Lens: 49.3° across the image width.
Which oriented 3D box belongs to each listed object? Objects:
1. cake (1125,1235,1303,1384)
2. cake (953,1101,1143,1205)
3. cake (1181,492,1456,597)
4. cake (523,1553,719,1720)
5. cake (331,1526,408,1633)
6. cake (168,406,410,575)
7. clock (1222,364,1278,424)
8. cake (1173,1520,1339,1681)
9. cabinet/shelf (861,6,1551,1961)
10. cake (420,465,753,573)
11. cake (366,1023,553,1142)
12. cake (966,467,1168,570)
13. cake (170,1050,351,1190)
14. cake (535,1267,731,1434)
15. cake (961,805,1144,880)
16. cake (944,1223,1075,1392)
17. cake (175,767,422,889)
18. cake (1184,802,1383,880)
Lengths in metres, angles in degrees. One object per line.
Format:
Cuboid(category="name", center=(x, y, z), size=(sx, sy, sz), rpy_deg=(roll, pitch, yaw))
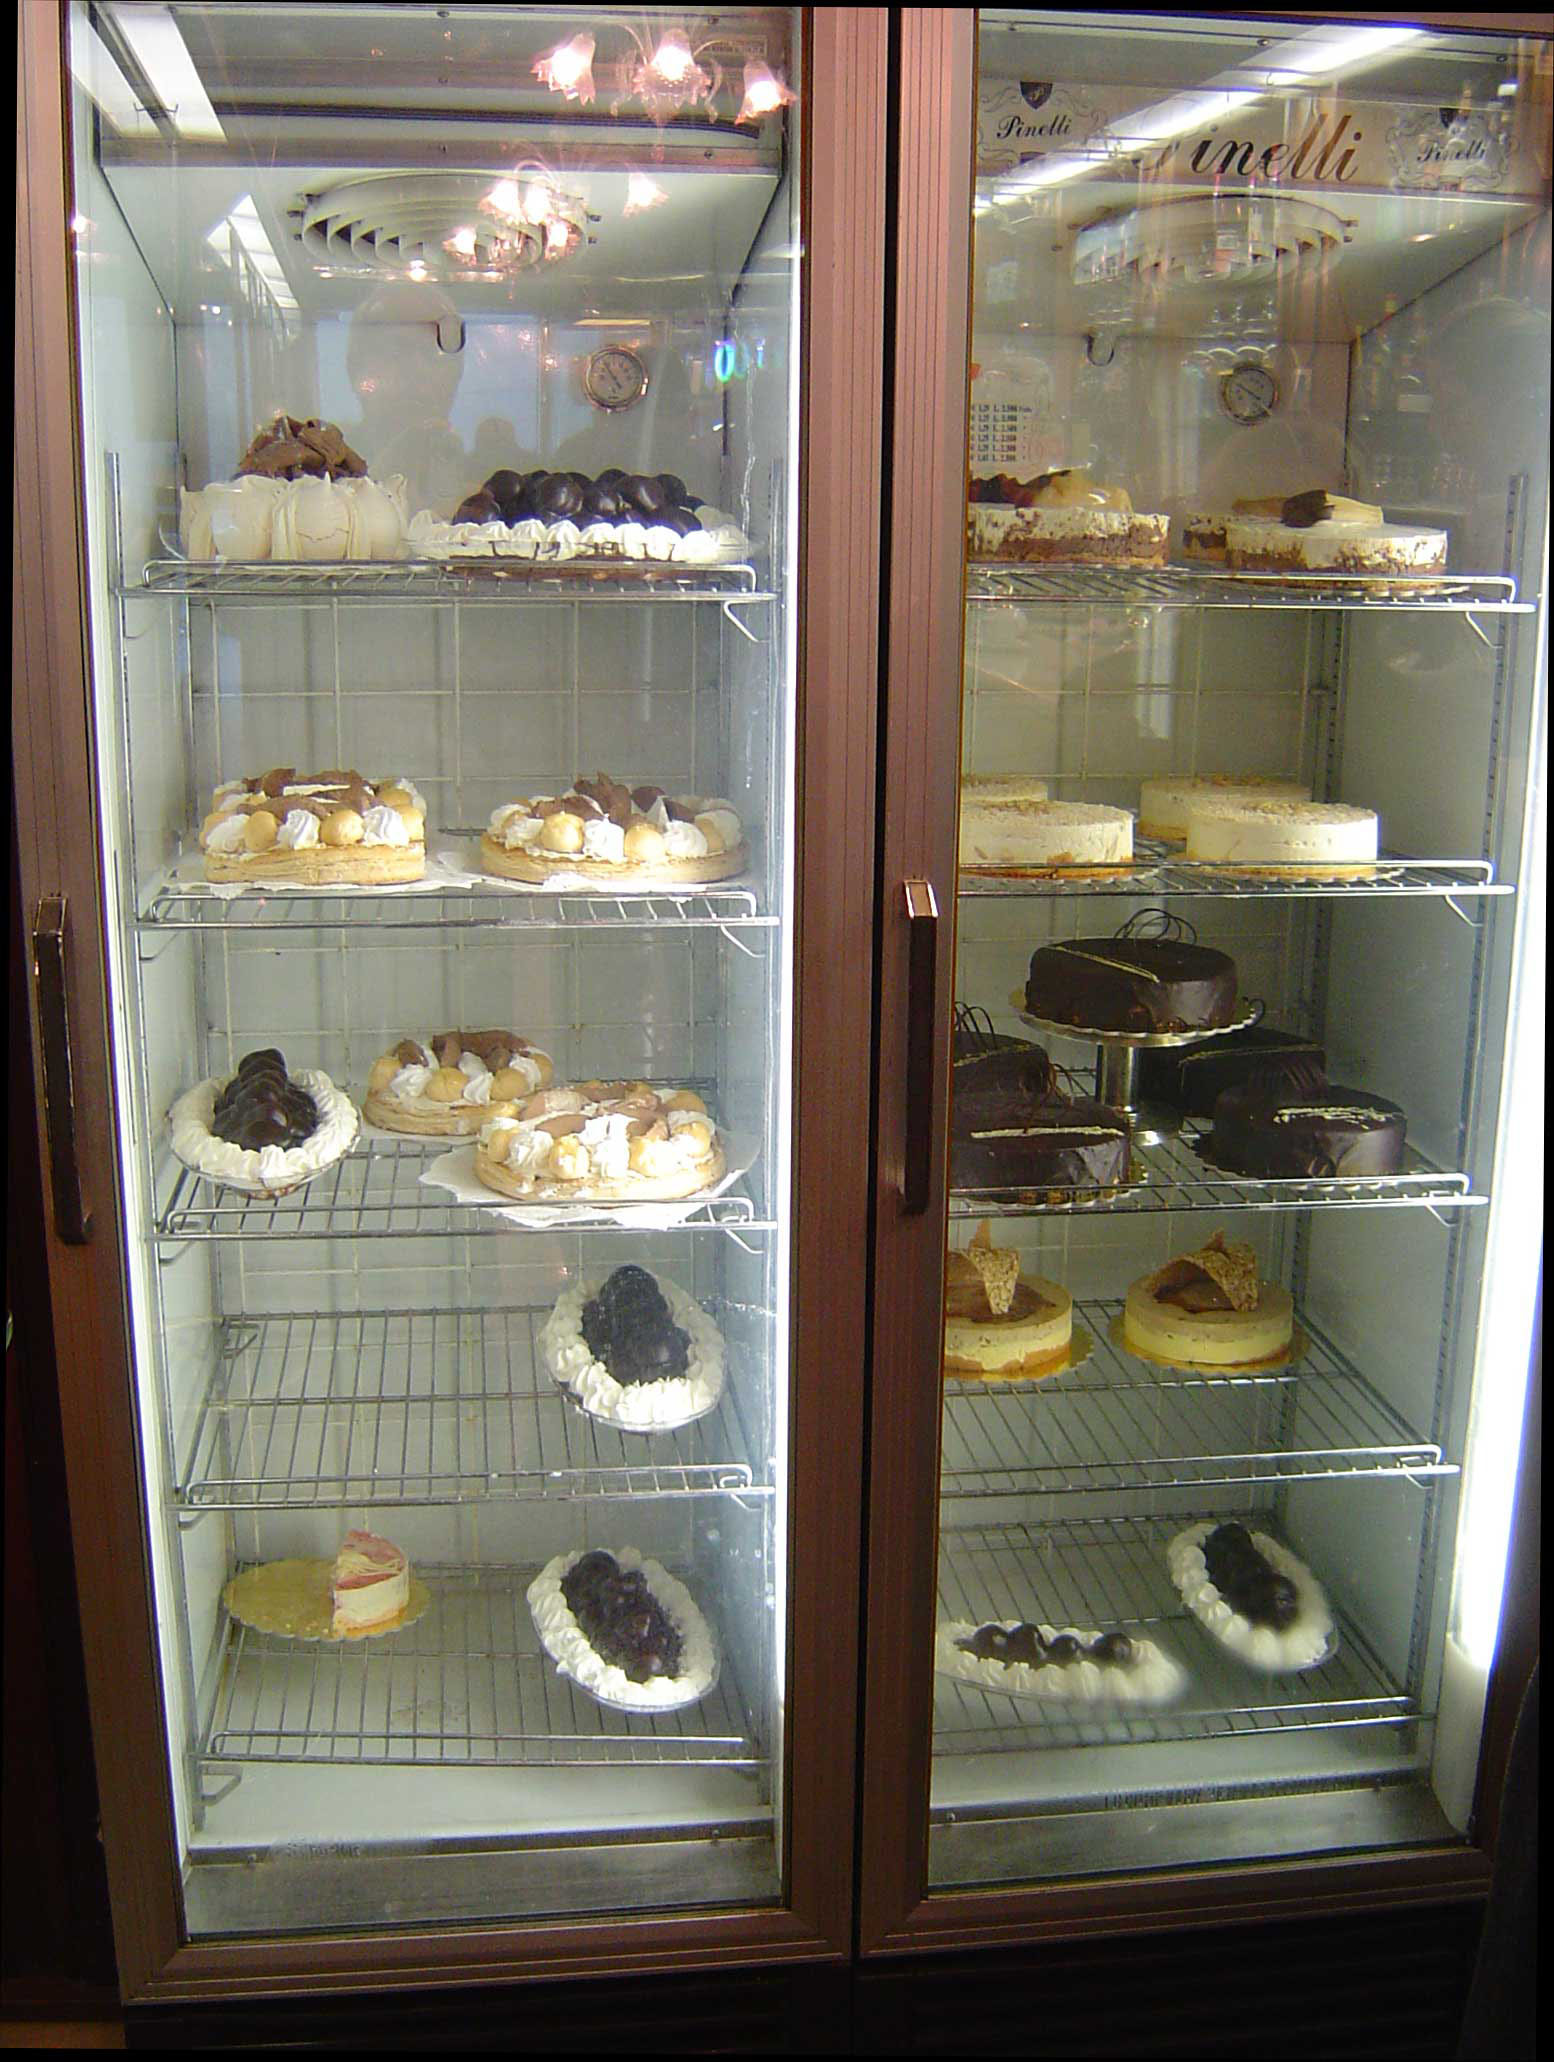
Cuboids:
Cuboid(category="cake", center=(0.500, 0.305, 1.970), size=(0.201, 0.118, 0.204), rpy_deg=(-13, 20, -42))
Cuboid(category="cake", center=(0.274, 0.125, 1.695), size=(0.218, 0.106, 0.060), rpy_deg=(-11, 14, -34))
Cuboid(category="cake", center=(0.537, -0.489, 1.704), size=(0.199, 0.062, 0.141), rpy_deg=(8, 24, 16))
Cuboid(category="cake", center=(-0.160, 0.676, 1.884), size=(0.169, 0.076, 0.231), rpy_deg=(-6, 12, -21))
Cuboid(category="cake", center=(-0.481, 0.661, 2.005), size=(0.086, 0.069, 0.138), rpy_deg=(10, 10, -14))
Cuboid(category="cake", center=(-0.467, -0.511, 1.637), size=(0.179, 0.111, 0.184), rpy_deg=(13, 21, 27))
Cuboid(category="clock", center=(0.482, -0.653, 1.738), size=(0.066, 0.060, 0.010), rpy_deg=(-4, 12, -6))
Cuboid(category="cake", center=(0.559, 0.661, 2.009), size=(0.171, 0.069, 0.232), rpy_deg=(-7, 17, -11))
Cuboid(category="cabinet/shelf", center=(0.429, -0.031, 1.791), size=(0.720, 1.782, 0.602), rpy_deg=(-3, 11, 2))
Cuboid(category="cake", center=(-0.189, -0.501, 1.668), size=(0.313, 0.107, 0.099), rpy_deg=(-3, 11, -1))
Cuboid(category="cake", center=(-0.358, 0.057, 1.885), size=(0.141, 0.063, 0.138), rpy_deg=(4, 13, 10))
Cuboid(category="cake", center=(0.279, -0.491, 1.631), size=(0.250, 0.091, 0.056), rpy_deg=(-10, 13, -31))
Cuboid(category="cake", center=(-0.530, 0.091, 1.794), size=(0.206, 0.081, 0.235), rpy_deg=(-3, 17, 19))
Cuboid(category="cake", center=(-0.155, 0.356, 1.879), size=(0.213, 0.088, 0.258), rpy_deg=(0, 31, -15))
Cuboid(category="cake", center=(0.258, -0.188, 1.674), size=(0.108, 0.037, 0.106), rpy_deg=(-4, 14, -15))
Cuboid(category="cake", center=(0.232, 0.305, 1.863), size=(0.175, 0.146, 0.168), rpy_deg=(-8, 0, 8))
Cuboid(category="cake", center=(-0.464, -0.197, 1.691), size=(0.163, 0.053, 0.166), rpy_deg=(-1, 29, -2))
Cuboid(category="cake", center=(0.519, -0.192, 1.746), size=(0.193, 0.081, 0.087), rpy_deg=(-2, 11, 7))
